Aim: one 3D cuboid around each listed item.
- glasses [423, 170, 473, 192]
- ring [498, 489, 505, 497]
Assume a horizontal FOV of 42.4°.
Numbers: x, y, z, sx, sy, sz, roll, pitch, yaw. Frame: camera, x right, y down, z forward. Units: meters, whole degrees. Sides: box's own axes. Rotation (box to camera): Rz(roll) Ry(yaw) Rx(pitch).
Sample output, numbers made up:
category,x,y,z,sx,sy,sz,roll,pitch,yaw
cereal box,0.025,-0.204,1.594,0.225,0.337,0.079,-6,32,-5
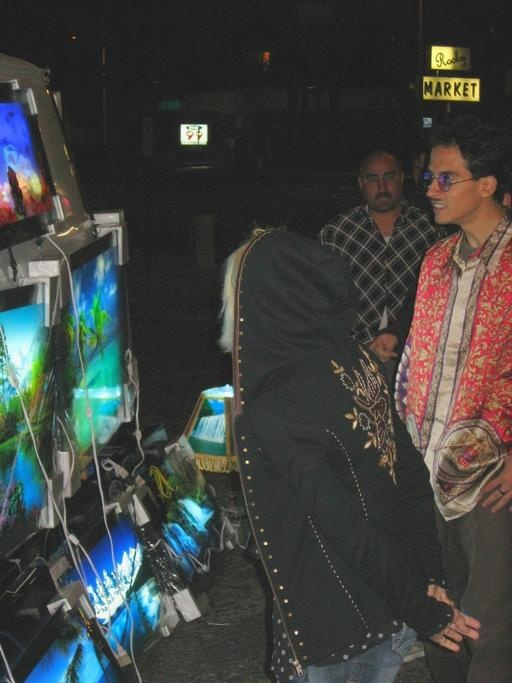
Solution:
category,x,y,z,sx,sy,sz,roll,pitch,yaw
glasses,0.689,-0.594,2.436,0.117,0.039,0.106,-1,9,-39
ring,0.864,0.530,2.330,0.018,0.028,0.012,-1,16,14
